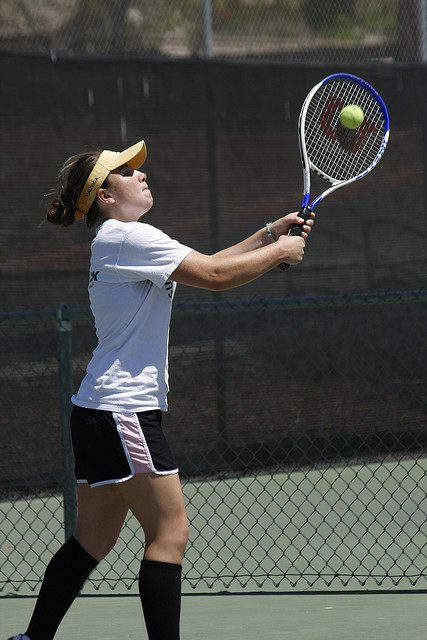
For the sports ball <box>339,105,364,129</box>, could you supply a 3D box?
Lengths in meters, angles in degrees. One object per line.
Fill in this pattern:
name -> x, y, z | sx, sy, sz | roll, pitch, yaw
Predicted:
sports ball -> 0.565, -0.820, 3.132 | 0.108, 0.098, 0.103 | 22, 13, -5
